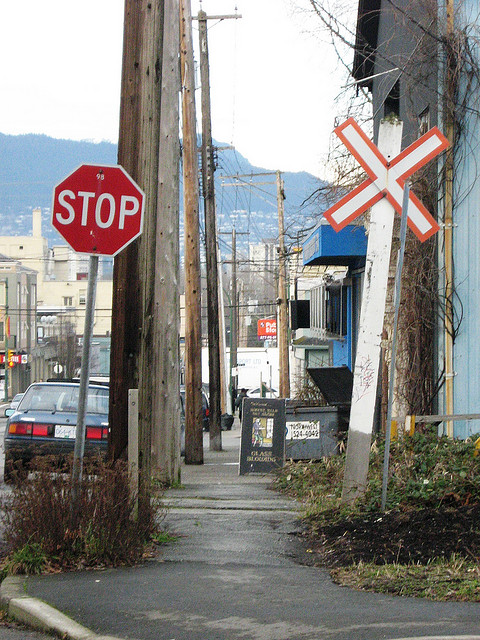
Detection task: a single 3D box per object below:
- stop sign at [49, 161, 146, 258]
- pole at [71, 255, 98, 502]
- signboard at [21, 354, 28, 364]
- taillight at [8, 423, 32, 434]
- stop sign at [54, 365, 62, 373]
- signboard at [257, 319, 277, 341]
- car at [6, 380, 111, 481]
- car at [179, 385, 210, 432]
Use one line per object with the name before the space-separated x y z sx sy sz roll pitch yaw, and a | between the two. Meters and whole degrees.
stop sign | -1.053 -0.817 8.103 0.700 0.701 0.236 5 -7 -28
pole | -1.085 0.414 7.970 0.137 1.793 0.180 -4 0 -43
signboard | -13.255 2.417 67.649 0.075 0.531 0.404 1 2 15
taillight | -2.630 1.288 13.173 0.281 0.134 0.094 1 -6 4
stop sign | -12.553 3.364 76.106 0.168 0.749 0.788 4 2 29
signboard | 0.952 0.355 39.865 0.640 1.030 2.816 1 -9 2
car | -2.172 1.201 12.481 0.843 1.145 1.924 1 1 0
car | -1.200 2.159 27.456 0.620 1.192 1.665 0 6 -12
